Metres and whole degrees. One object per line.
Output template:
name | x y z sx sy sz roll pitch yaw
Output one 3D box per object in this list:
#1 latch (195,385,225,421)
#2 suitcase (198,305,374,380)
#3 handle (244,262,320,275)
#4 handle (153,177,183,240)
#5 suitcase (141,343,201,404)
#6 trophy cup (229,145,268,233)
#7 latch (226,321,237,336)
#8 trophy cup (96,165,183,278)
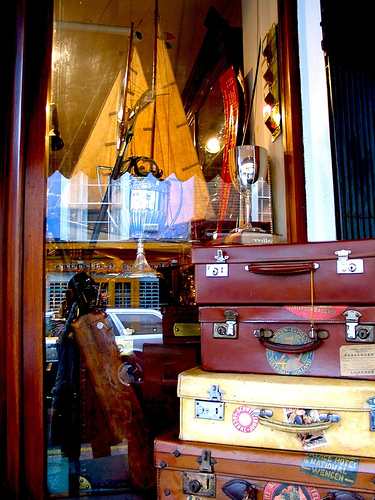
latch | 0.059 0.363 1.250 0.081 0.080 0.044 -2 -11 21
suitcase | 0.290 0.191 1.409 0.490 0.158 0.358 1 2 20
handle | 0.226 0.042 1.255 0.180 0.026 0.048 -1 0 8
handle | -0.064 -0.144 1.811 0.082 0.207 0.085 -1 8 -25
suitcase | -0.060 0.356 1.603 0.187 0.175 0.195 1 1 -3
trophy cup | 0.183 -0.196 1.679 0.128 0.295 0.122 1 6 0
latch | 0.109 0.193 1.286 0.036 0.043 0.007 1 -6 20
trophy cup | -0.171 -0.085 1.728 0.289 0.333 0.204 11 -20 -27
